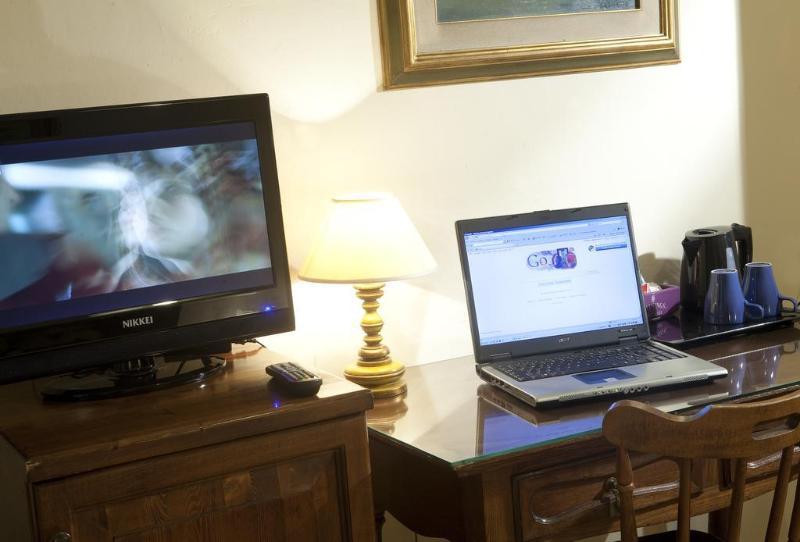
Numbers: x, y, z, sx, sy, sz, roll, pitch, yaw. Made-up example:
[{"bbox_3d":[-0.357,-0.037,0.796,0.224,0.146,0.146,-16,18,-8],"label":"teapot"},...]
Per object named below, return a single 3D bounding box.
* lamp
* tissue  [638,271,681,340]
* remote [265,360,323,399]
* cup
[{"bbox_3d":[-0.066,0.069,1.791,0.333,0.565,0.330,-7,3,-32],"label":"lamp"},{"bbox_3d":[0.801,0.097,2.057,0.160,0.162,0.225,1,6,19],"label":"tissue "},{"bbox_3d":[-0.230,0.225,1.388,0.118,0.050,0.109,-5,11,-16],"label":"remote"},{"bbox_3d":[1.036,0.060,1.979,0.234,0.179,0.247,-1,8,0],"label":"cup"}]
